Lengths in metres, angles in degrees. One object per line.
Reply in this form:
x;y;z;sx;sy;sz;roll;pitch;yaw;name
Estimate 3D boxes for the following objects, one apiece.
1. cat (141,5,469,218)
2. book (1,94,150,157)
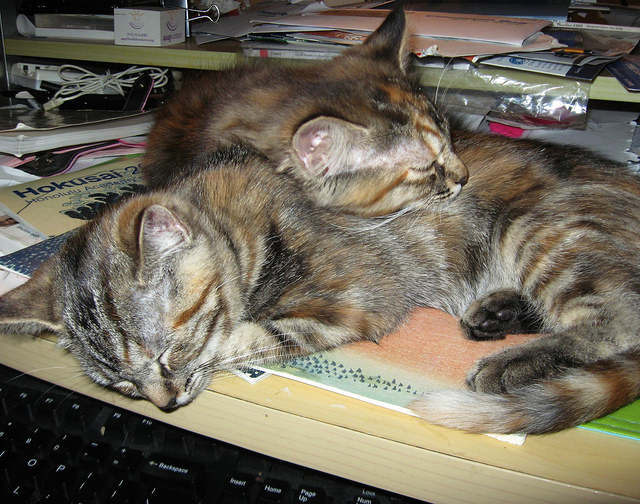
0.014;-0.310;1.218;0.851;0.408;0.385;10;40;4;cat
-0.648;-0.339;1.414;0.353;0.068;0.364;19;27;39;book
